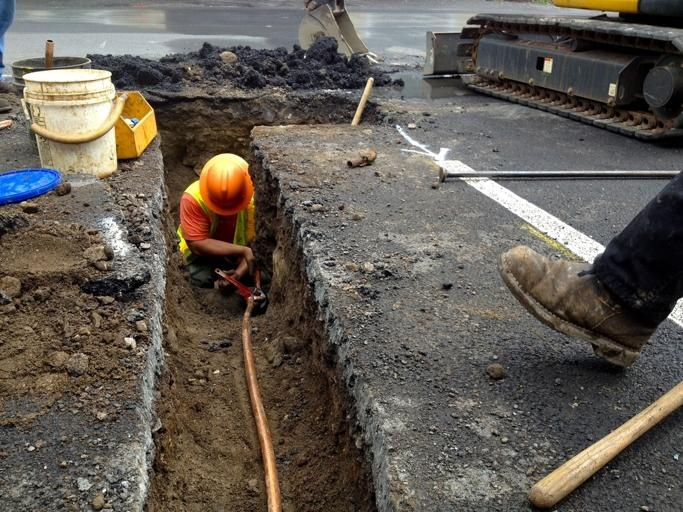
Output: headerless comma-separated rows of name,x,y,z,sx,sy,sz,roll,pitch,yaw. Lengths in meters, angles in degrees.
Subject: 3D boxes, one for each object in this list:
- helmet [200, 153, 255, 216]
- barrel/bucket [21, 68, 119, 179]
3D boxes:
helmet,-1.044,-0.697,5.106,0.513,0.229,0.578,-5,66,-5
barrel/bucket,-2.284,-1.071,4.686,0.876,0.782,0.827,-1,24,0
